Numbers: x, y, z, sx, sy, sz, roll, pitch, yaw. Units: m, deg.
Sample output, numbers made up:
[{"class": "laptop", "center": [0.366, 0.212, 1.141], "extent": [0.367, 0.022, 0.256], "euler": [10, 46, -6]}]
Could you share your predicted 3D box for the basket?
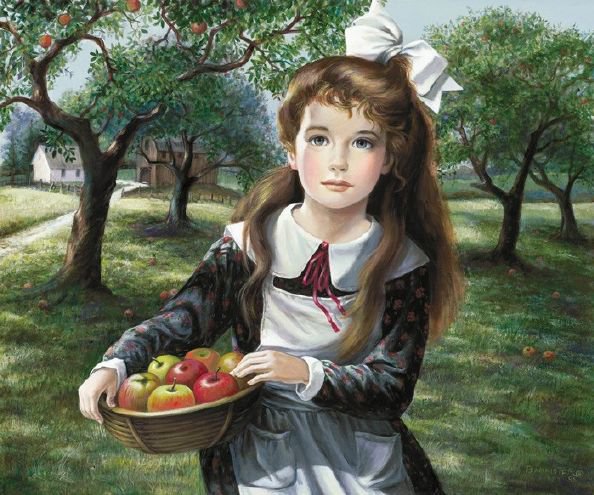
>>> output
[{"class": "basket", "center": [-0.485, 0.760, 2.563], "extent": [0.367, 0.140, 0.357], "euler": [-18, 15, -41]}]
